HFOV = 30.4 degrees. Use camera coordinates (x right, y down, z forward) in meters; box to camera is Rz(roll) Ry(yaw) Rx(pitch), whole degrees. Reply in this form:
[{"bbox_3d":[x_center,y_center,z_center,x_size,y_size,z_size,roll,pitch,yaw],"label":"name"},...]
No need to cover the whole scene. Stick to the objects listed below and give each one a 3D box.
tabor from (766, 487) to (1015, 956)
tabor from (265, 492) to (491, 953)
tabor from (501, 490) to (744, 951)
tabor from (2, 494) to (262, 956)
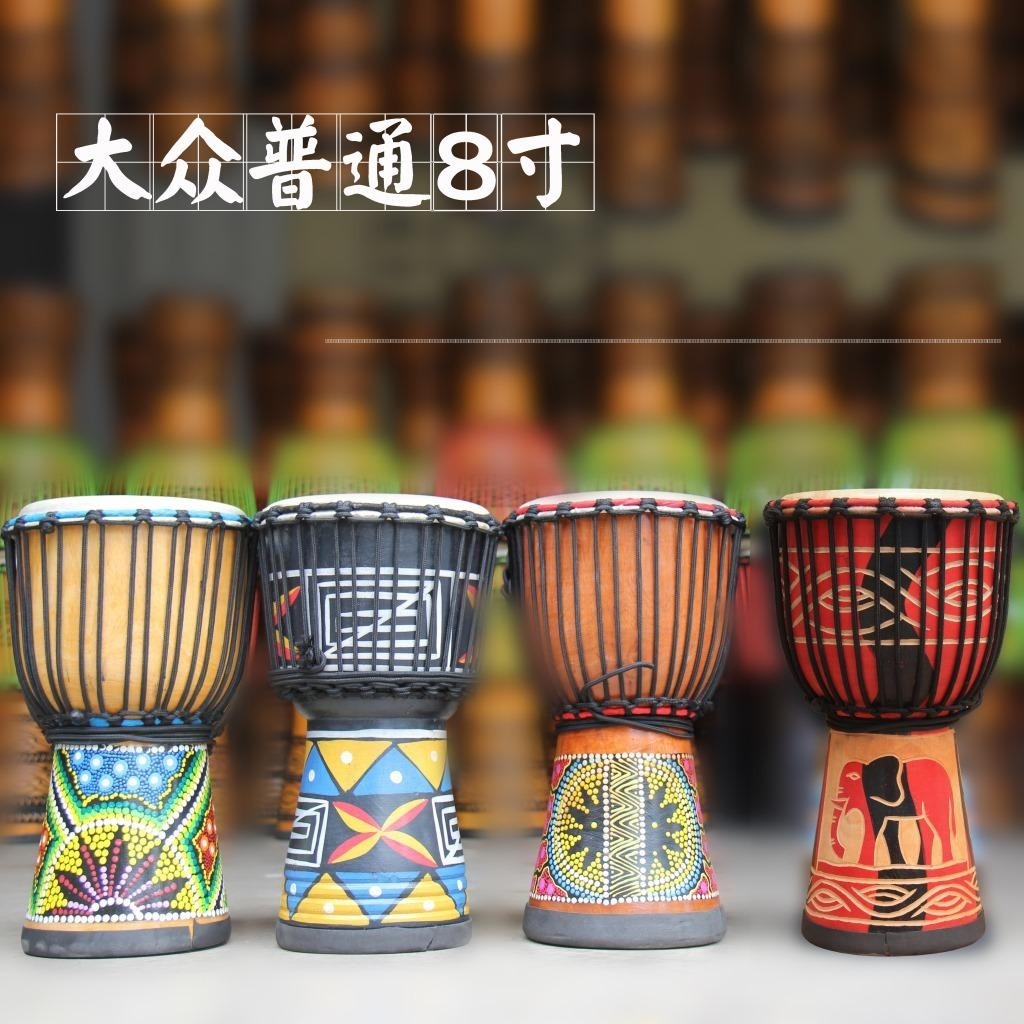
[{"bbox_3d":[0.744,0.384,3.603,0.478,0.854,0.294,0,2,-1],"label":"tabor"},{"bbox_3d":[-0.266,0.390,3.594,0.459,0.843,0.271,0,2,-1],"label":"tabor"},{"bbox_3d":[0.208,0.388,3.658,0.482,0.852,0.311,0,2,6],"label":"tabor"},{"bbox_3d":[-0.749,0.397,3.624,0.478,0.849,0.308,0,2,-3],"label":"tabor"}]
